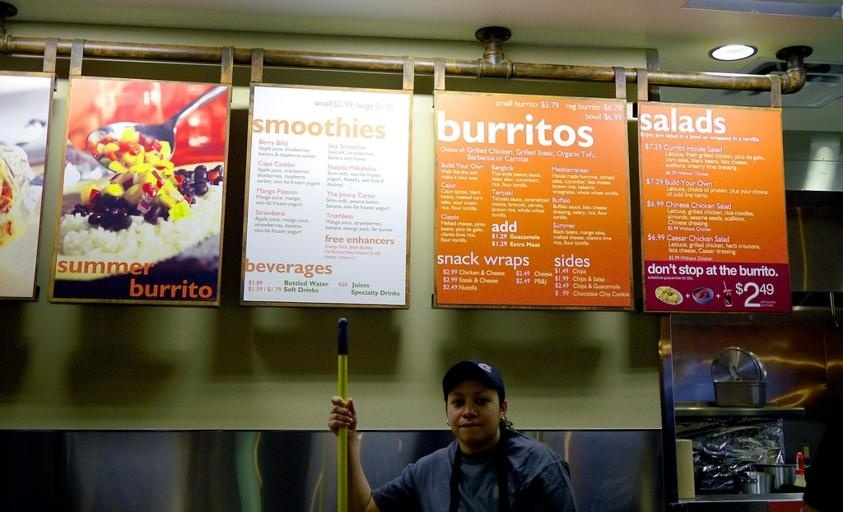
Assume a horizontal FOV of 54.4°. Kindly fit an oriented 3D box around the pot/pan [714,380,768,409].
[{"bbox_3d":[2.863,1.239,7.356,0.417,0.228,0.102,-5,-12,24],"label":"pot/pan"}]

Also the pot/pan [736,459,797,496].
[{"bbox_3d":[3.065,1.911,7.074,0.658,0.235,0.408,1,-10,-12],"label":"pot/pan"}]

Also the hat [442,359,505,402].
[{"bbox_3d":[0.311,0.739,5.061,0.292,0.298,0.279,-3,0,5],"label":"hat"}]
